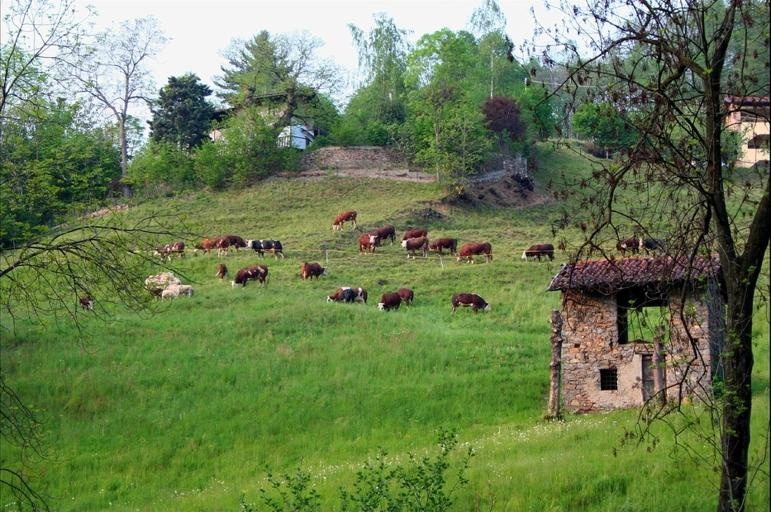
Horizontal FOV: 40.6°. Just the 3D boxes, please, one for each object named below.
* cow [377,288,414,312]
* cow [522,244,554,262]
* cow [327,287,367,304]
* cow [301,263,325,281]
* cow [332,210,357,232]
[{"bbox_3d":[0.641,2.413,59.832,2.490,1.286,1.282,2,-4,-42],"label":"cow"},{"bbox_3d":[9.538,-0.286,64.541,1.273,1.078,2.318,2,-4,-41],"label":"cow"},{"bbox_3d":[-2.072,2.220,60.828,2.554,0.907,0.931,2,-4,-36],"label":"cow"},{"bbox_3d":[-4.427,0.872,64.091,1.390,1.001,0.817,1,-3,-31],"label":"cow"},{"bbox_3d":[-2.856,-2.489,73.227,1.767,1.407,2.709,0,-3,-3],"label":"cow"}]
